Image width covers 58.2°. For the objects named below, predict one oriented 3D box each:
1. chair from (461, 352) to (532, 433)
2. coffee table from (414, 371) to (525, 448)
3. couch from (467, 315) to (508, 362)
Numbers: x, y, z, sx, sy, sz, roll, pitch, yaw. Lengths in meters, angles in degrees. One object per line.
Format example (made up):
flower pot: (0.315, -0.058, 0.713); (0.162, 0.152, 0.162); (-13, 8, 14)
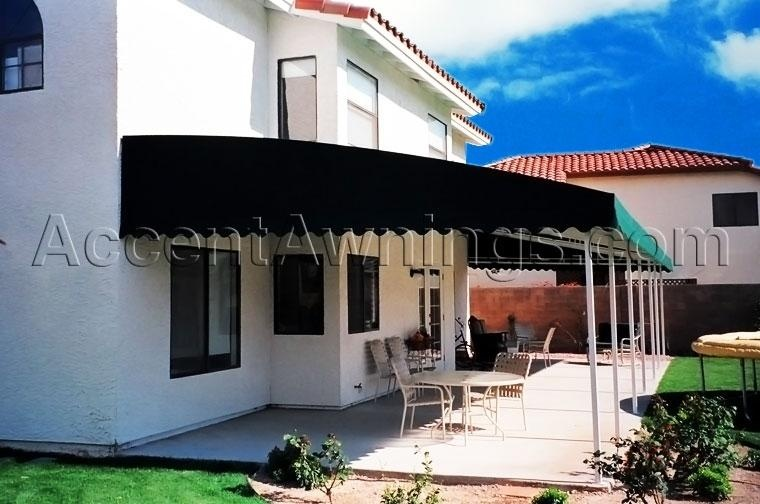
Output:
chair: (2.637, 3.089, 15.626); (1.740, 2.397, 1.348); (11, -12, -40)
coffee table: (1.804, 3.152, 14.157); (2.206, 1.226, 1.818); (0, 4, 2)
couch: (3.506, 2.917, 22.737); (1.325, 2.131, 1.474); (-2, -2, 18)
